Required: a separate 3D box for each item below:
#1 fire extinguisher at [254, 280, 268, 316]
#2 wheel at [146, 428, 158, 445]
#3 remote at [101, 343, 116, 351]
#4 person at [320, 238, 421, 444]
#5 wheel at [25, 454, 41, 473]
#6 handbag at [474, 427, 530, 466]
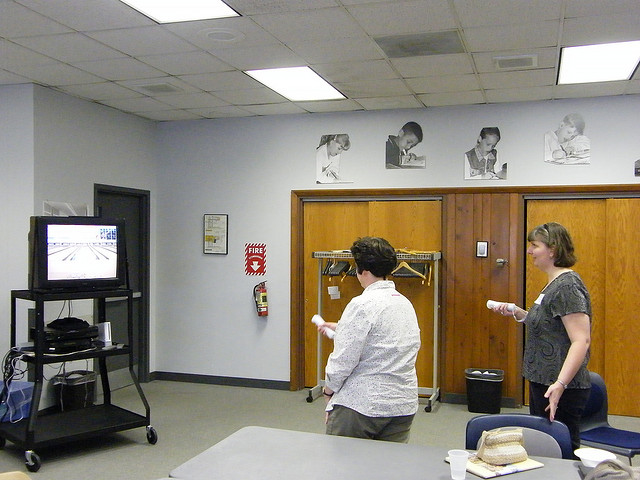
[{"bbox_3d":[-0.794,0.767,6.385,0.175,0.472,0.096,-1,1,0],"label":"fire extinguisher"},{"bbox_3d":[-1.633,1.879,4.689,0.098,0.159,0.174,-1,1,-20],"label":"wheel"},{"bbox_3d":[-2.041,1.028,4.655,0.128,0.021,0.244,-1,0,-24],"label":"remote"},{"bbox_3d":[0.278,0.552,2.638,0.529,1.124,0.236,-1,1,0],"label":"person"},{"bbox_3d":[-2.430,1.879,4.092,0.105,0.152,0.127,-2,1,-31],"label":"wheel"},{"bbox_3d":[0.835,0.950,2.256,0.171,0.107,0.168,2,-13,-12],"label":"handbag"}]
